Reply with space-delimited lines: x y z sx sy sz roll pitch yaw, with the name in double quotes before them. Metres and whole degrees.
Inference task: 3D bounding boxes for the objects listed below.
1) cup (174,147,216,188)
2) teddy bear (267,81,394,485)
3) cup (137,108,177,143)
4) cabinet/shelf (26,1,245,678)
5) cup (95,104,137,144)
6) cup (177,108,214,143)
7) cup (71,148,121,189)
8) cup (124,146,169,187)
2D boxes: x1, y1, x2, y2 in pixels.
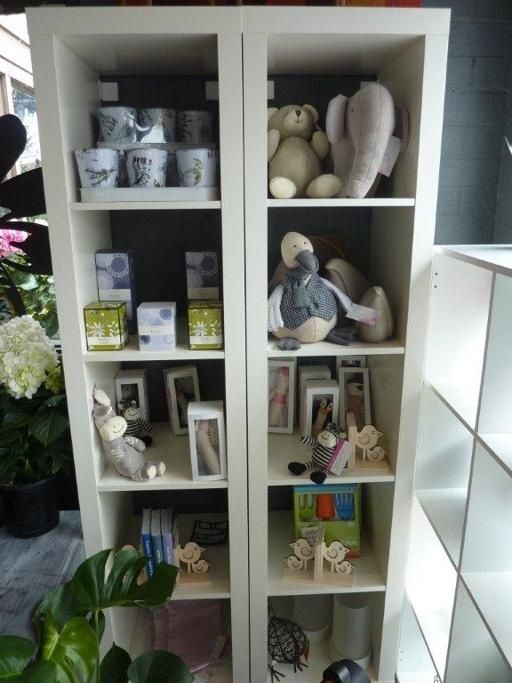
"cup" -0.126 -0.371 1.196 0.080 0.069 0.089 9 17 28
"teddy bear" 0.189 -0.132 1.397 0.334 0.926 0.307 -4 14 1
"cup" -0.234 -0.503 1.316 0.089 0.097 0.083 -1 15 0
"cabinet/shelf" -0.224 0.107 1.480 0.497 1.695 0.437 -5 14 -2
"cup" -0.309 -0.496 1.253 0.089 0.071 0.071 0 22 -3
"cup" -0.155 -0.538 1.381 0.080 0.070 0.092 -15 29 -32
"cup" -0.335 -0.368 1.175 0.084 0.073 0.093 13 22 35
"cup" -0.234 -0.373 1.197 0.087 0.072 0.084 1 8 0
